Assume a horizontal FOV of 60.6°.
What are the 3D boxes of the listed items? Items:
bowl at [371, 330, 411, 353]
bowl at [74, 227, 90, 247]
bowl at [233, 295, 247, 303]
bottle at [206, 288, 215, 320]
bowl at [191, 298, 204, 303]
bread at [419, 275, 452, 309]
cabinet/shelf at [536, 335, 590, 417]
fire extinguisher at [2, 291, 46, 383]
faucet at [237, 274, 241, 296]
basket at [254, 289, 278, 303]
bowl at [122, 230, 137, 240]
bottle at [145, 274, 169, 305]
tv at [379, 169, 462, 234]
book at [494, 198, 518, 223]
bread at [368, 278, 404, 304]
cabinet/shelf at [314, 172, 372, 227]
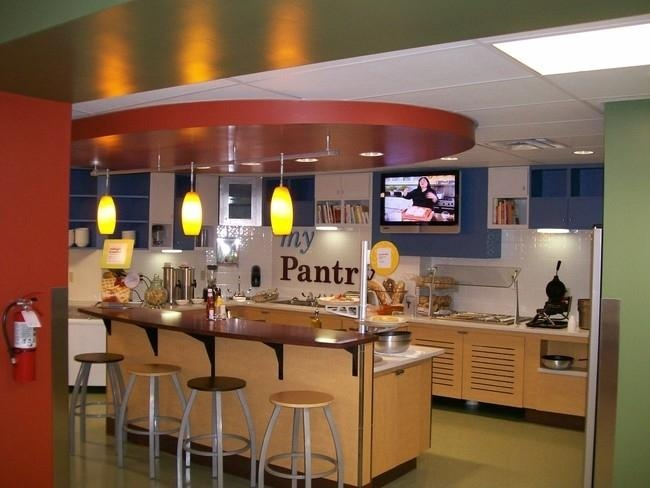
[{"bbox_3d":[0.633,0.903,5.160,0.289,0.136,0.273,0,-8,0],"label":"bowl"},{"bbox_3d":[-3.367,-0.083,7.711,0.239,0.307,0.226,1,2,0],"label":"bowl"},{"bbox_3d":[-1.319,0.844,8.656,0.208,0.069,0.395,1,2,-8],"label":"bowl"},{"bbox_3d":[-1.108,0.588,5.421,0.069,0.299,0.146,1,2,-12],"label":"bottle"},{"bbox_3d":[-1.834,0.819,8.049,0.166,0.064,0.250,1,2,-18],"label":"bowl"},{"bbox_3d":[1.476,0.648,7.529,0.498,0.420,0.271,2,0,-45],"label":"bread"},{"bbox_3d":[2.805,1.561,6.622,0.520,0.850,0.409,2,3,21],"label":"cabinet/shelf"},{"bbox_3d":[-1.899,0.605,3.479,0.222,0.547,0.278,0,3,-23],"label":"fire extinguisher"},{"bbox_3d":[-1.387,0.658,8.992,0.050,0.286,0.119,1,2,-8],"label":"faucet"},{"bbox_3d":[-0.865,0.796,8.668,0.273,0.166,0.569,3,3,39],"label":"basket"},{"bbox_3d":[-2.773,-0.128,7.874,0.149,0.106,0.146,0,-1,0],"label":"bowl"},{"bbox_3d":[-2.103,0.610,6.934,0.234,0.328,0.372,1,2,-15],"label":"bottle"},{"bbox_3d":[1.326,-0.588,7.517,0.920,0.654,0.096,1,1,30],"label":"tv"},{"bbox_3d":[2.349,-0.420,7.219,0.323,0.400,0.236,2,-4,-30],"label":"book"},{"bbox_3d":[0.855,0.661,7.798,0.430,0.280,0.372,-3,-5,29],"label":"bread"},{"bbox_3d":[0.298,-0.664,8.153,0.816,0.682,0.261,1,0,32],"label":"cabinet/shelf"}]
